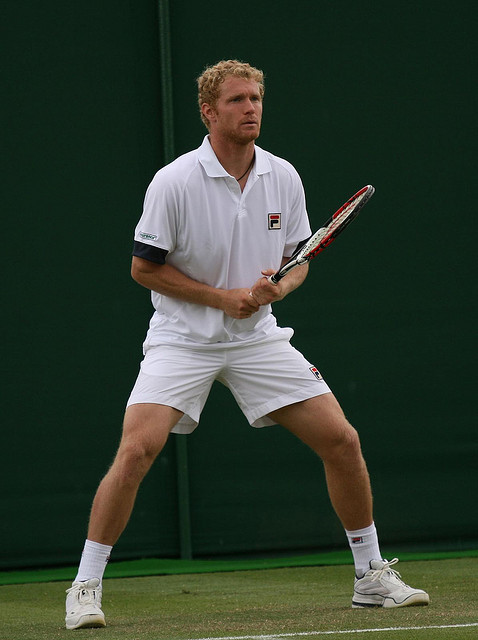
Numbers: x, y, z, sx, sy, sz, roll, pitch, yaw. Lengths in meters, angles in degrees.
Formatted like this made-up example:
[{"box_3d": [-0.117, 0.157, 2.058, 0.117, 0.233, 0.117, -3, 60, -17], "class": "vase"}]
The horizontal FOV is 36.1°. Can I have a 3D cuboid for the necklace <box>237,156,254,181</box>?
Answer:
[{"box_3d": [0.018, -0.492, 2.394, 0.006, 0.089, 0.064, 28, 19, -6], "class": "necklace"}]

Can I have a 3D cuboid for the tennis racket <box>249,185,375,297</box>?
[{"box_3d": [0.222, -0.241, 2.368, 0.429, 0.329, 0.286, -7, -10, -1], "class": "tennis racket"}]

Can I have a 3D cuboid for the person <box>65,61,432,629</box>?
[{"box_3d": [-0.055, 0.075, 2.369, 1.060, 1.776, 0.503, -7, -11, -6], "class": "person"}]

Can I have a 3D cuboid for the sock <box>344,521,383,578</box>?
[{"box_3d": [0.408, 0.747, 2.363, 0.098, 0.155, 0.056, -9, -11, 4], "class": "sock"}]
